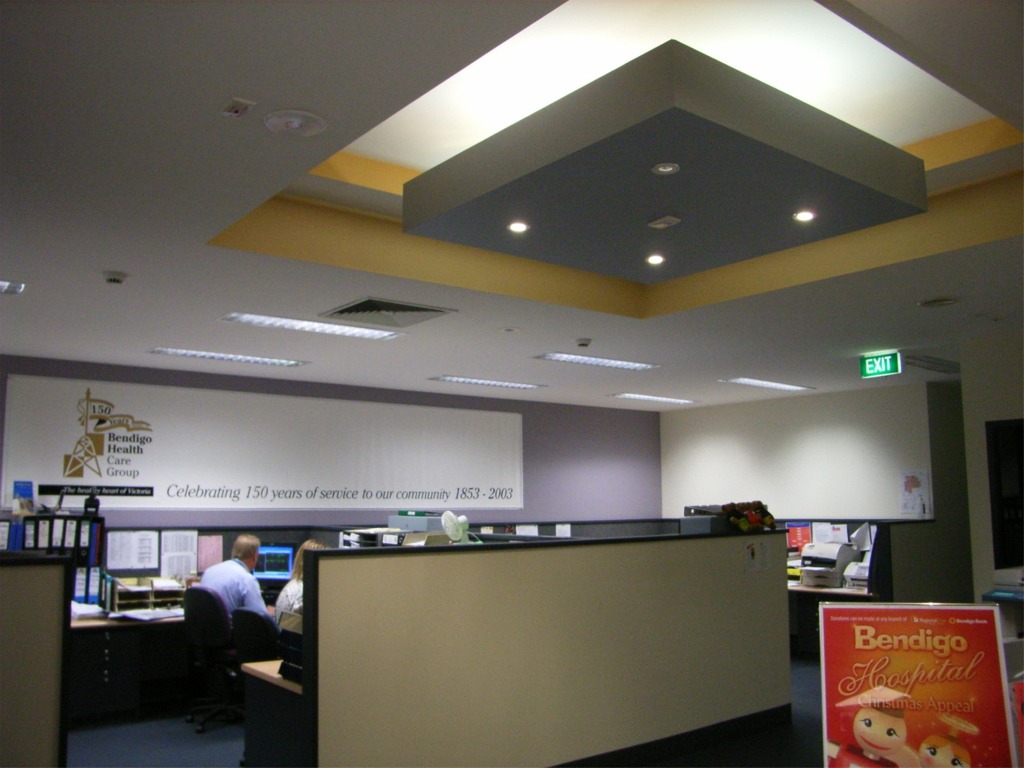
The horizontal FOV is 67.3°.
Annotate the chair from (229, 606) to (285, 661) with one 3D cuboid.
[{"bbox_3d":[-1.853,1.820,5.534,0.376,0.377,0.201,-2,-9,10],"label":"chair"}]

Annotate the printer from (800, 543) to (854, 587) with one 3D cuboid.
[{"bbox_3d":[3.345,1.902,8.154,0.376,0.395,0.527,-3,-1,41],"label":"printer"}]

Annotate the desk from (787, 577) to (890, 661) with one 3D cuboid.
[{"bbox_3d":[3.179,2.422,7.808,0.807,0.748,0.455,-9,-12,42],"label":"desk"}]
